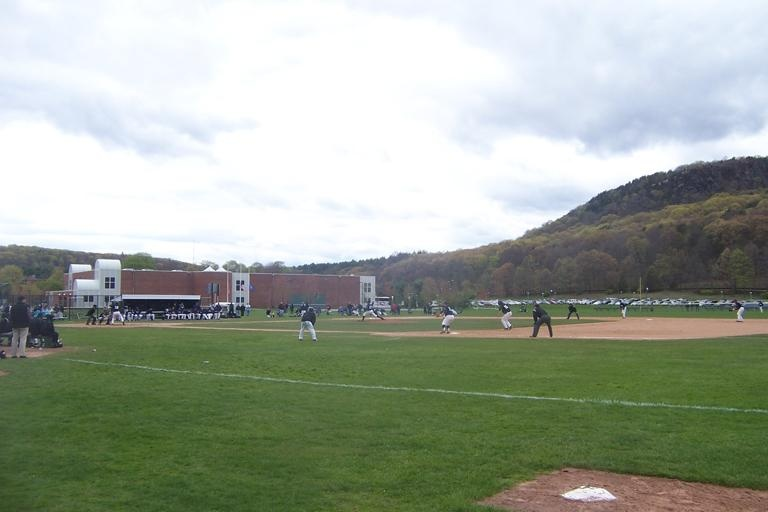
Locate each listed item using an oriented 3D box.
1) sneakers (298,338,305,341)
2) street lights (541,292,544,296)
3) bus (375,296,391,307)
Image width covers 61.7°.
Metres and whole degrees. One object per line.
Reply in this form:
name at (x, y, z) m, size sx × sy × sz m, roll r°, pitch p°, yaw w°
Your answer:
sneakers at (-4.224, 4.221, 32.571) m, size 0.226 × 0.098 × 0.118 m, roll -7°, pitch 29°, yaw -1°
street lights at (42.963, 10.291, 175.230) m, size 0.759 × 0.823 × 0.762 m, roll -1°, pitch 3°, yaw -1°
bus at (-0.398, 7.221, 104.275) m, size 1.950 × 1.591 × 3.155 m, roll 0°, pitch -7°, yaw -1°
